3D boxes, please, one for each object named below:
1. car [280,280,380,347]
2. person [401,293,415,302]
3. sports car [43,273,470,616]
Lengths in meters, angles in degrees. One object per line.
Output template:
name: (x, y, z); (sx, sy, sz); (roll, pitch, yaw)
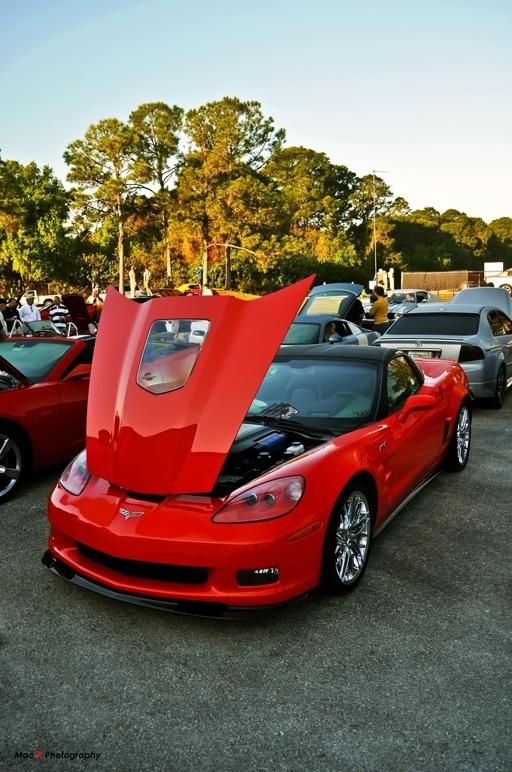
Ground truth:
car: (1.466, -1.616, 11.396); (1.407, 1.437, 3.346); (1, 4, 36)
person: (8.203, -4.795, 28.276); (0.608, 0.267, 0.776); (-8, 14, 15)
sports car: (0.356, 0.088, 4.275); (1.917, 1.499, 4.015); (3, 11, 33)
